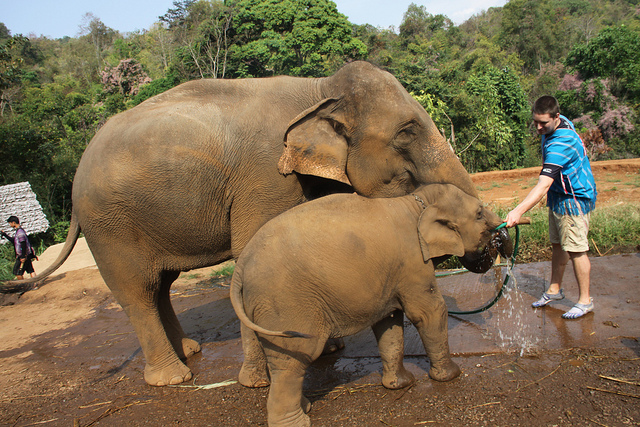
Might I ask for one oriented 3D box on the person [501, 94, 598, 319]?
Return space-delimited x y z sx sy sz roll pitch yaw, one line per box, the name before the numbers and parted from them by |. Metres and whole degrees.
person | 3.213 -0.095 6.796 1.435 2.931 0.644 -11 11 -20
